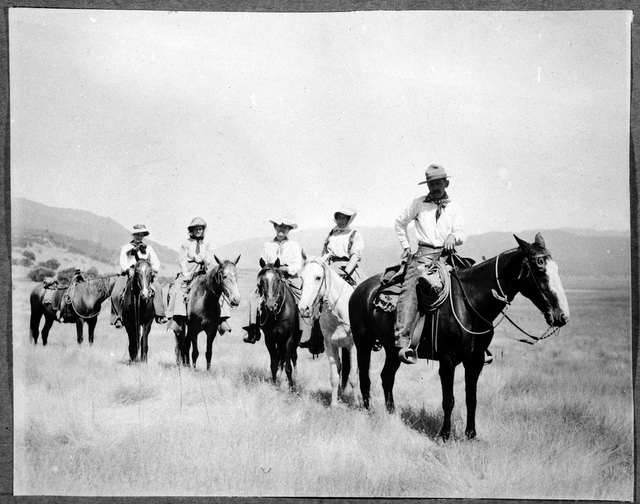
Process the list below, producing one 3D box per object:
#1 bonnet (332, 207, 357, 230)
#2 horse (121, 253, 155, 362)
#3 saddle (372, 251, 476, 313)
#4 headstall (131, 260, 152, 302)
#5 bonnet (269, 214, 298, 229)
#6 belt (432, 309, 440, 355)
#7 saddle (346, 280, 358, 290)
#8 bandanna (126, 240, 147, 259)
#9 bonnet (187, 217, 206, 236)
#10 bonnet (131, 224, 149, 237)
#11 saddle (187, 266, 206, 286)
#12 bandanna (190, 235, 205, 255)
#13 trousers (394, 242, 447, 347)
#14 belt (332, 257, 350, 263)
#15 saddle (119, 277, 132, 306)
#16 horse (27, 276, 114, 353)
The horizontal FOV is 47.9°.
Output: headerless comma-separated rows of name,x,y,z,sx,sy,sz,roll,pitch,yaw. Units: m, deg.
bonnet,0.455,-0.763,14.000,0.419,0.484,0.579,4,11,10
horse,-3.764,1.224,15.142,0.659,2.140,1.237,2,-4,-24
saddle,1.784,0.619,12.198,1.049,1.414,1.747,1,4,-11
headstall,-3.650,0.596,14.788,0.379,0.848,0.148,5,-3,5
bonnet,-0.684,-0.564,13.684,0.313,0.154,0.392,17,-18,18
belt,1.894,1.308,11.851,0.102,0.742,0.097,0,-3,9
saddle,0.623,0.602,13.660,0.136,0.153,0.336,-2,-4,37
bandanna,-4.005,-0.049,15.778,0.307,0.351,0.124,1,16,-41
bonnet,-2.657,-0.487,15.612,0.420,0.319,0.506,3,-13,-9
bonnet,-3.934,-0.502,15.873,0.386,0.240,0.410,2,-4,-22
saddle,-2.606,0.499,15.283,0.375,0.416,0.208,1,-4,-12
bandanna,-2.653,-0.157,15.557,0.325,0.481,0.047,2,-6,-13
trousers,1.572,0.794,11.918,0.632,1.856,0.697,-1,3,-6
belt,0.406,0.130,13.997,0.300,0.085,0.077,1,-3,-3
saddle,-4.201,0.835,15.556,0.195,0.554,0.597,2,-4,-18
horse,-5.732,1.473,16.827,2.511,2.092,0.768,4,6,9
